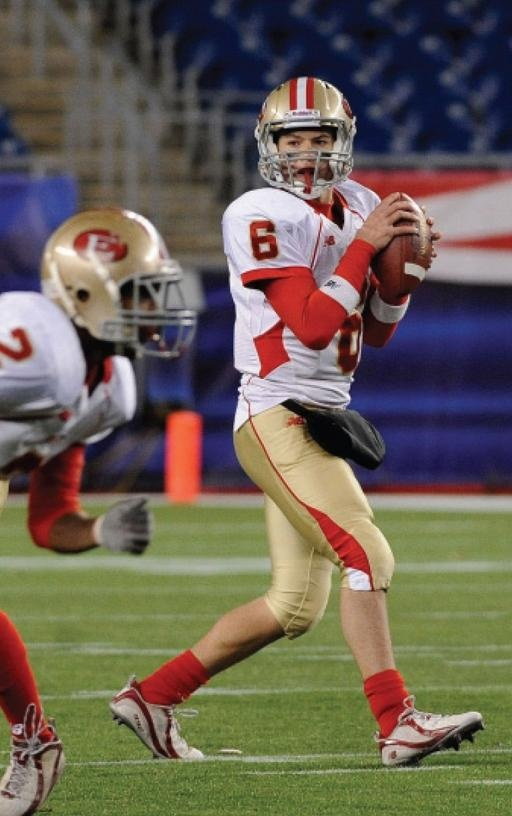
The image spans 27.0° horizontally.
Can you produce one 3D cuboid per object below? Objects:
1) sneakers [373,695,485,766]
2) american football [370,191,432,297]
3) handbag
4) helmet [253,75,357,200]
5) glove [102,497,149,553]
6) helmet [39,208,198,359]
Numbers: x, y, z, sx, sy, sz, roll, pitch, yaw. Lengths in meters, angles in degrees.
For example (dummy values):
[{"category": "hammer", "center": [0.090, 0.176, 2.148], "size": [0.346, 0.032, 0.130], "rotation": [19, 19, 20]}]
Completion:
[{"category": "sneakers", "center": [0.375, 0.703, 2.349], "size": [0.083, 0.253, 0.131], "rotation": [34, 35, -44]}, {"category": "american football", "center": [0.315, -0.380, 2.538], "size": [0.161, 0.217, 0.158], "rotation": [13, -8, -13]}, {"category": "handbag", "center": [0.208, 0.077, 2.484], "size": [0.159, 0.154, 0.254], "rotation": [2, 6, 14]}, {"category": "helmet", "center": [0.119, -0.646, 2.584], "size": [0.278, 0.259, 0.305], "rotation": [-1, 5, 3]}, {"category": "glove", "center": [-0.242, 0.220, 2.007], "size": [0.121, 0.077, 0.080], "rotation": [-3, 6, 9]}, {"category": "helmet", "center": [-0.222, -0.255, 2.040], "size": [0.340, 0.244, 0.225], "rotation": [9, 27, 22]}]
